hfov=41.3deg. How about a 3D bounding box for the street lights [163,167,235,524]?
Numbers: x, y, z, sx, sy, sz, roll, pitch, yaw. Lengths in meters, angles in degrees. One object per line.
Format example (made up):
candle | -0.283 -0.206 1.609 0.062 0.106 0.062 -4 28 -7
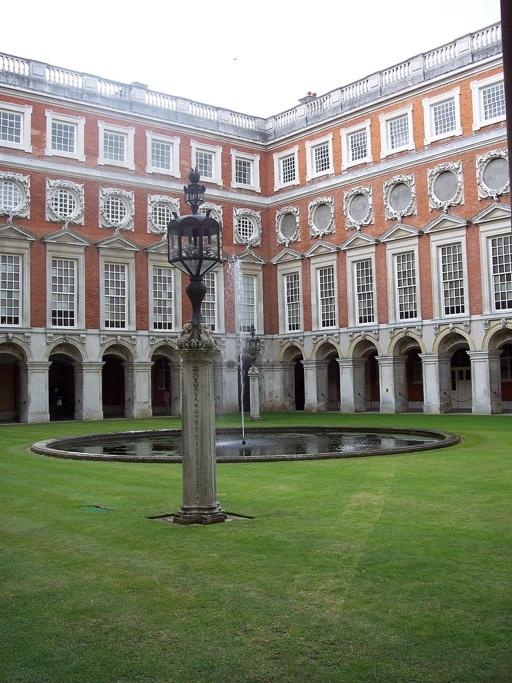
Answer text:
street lights | -0.712 -0.037 8.090 0.658 4.236 0.624 -1 -5 -6
